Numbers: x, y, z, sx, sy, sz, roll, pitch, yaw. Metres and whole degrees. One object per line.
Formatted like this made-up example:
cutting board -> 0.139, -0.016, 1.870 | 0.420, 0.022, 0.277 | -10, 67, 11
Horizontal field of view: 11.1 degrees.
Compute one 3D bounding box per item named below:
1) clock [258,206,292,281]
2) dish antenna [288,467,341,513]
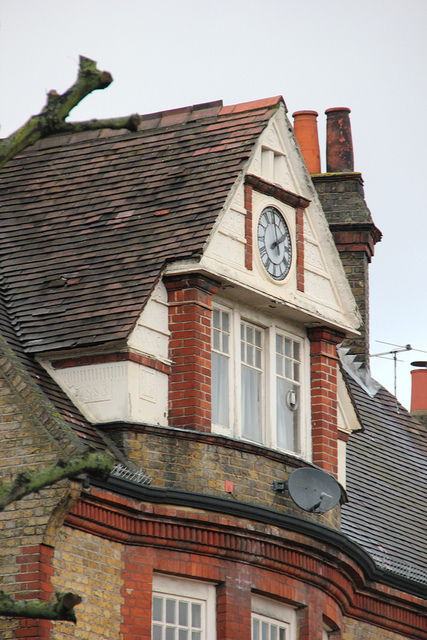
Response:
clock -> 0.684, -0.866, 26.360 | 0.064, 0.664, 0.613 | -11, -34, 25
dish antenna -> 1.092, 1.930, 25.220 | 0.489, 0.517, 0.218 | 34, -47, -4
